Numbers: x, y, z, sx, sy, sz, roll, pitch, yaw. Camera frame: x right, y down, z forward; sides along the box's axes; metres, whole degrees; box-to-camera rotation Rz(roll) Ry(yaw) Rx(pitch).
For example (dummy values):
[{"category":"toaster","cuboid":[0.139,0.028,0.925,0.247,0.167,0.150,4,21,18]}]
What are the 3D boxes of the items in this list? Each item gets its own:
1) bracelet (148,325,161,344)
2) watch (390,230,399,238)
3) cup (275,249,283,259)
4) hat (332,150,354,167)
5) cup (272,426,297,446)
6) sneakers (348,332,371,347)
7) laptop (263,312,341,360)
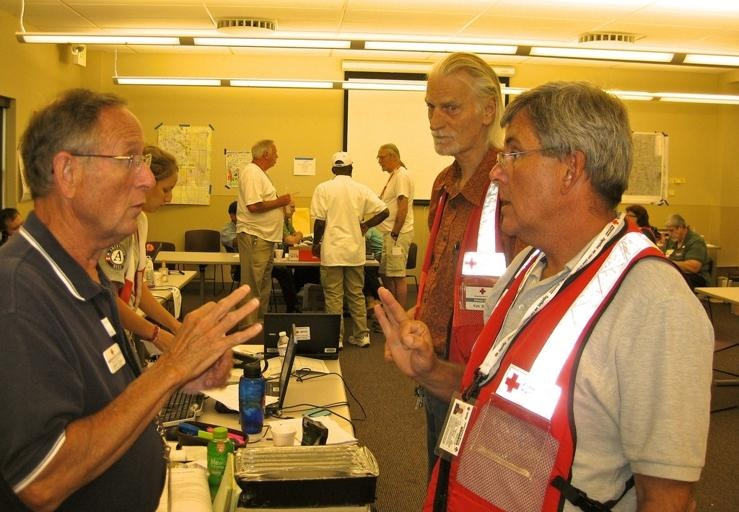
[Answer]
[{"category":"bracelet","cuboid":[-0.955,0.349,2.688,0.029,0.064,0.049,9,-9,-15]},{"category":"watch","cuboid":[0.266,-0.241,6.709,0.079,0.060,0.106,3,6,13]},{"category":"cup","cuboid":[-1.039,-0.018,6.851,0.098,0.087,0.095,0,0,0]},{"category":"hat","cuboid":[-0.280,-0.994,6.154,0.165,0.095,0.251,0,14,3]},{"category":"cup","cuboid":[-0.319,0.670,2.234,0.074,0.053,0.066,-2,8,-25]},{"category":"sneakers","cuboid":[-0.108,0.870,6.352,0.104,0.122,0.276,-8,13,-36]},{"category":"laptop","cuboid":[-0.371,0.364,3.401,0.407,0.260,0.274,0,12,-6]}]
